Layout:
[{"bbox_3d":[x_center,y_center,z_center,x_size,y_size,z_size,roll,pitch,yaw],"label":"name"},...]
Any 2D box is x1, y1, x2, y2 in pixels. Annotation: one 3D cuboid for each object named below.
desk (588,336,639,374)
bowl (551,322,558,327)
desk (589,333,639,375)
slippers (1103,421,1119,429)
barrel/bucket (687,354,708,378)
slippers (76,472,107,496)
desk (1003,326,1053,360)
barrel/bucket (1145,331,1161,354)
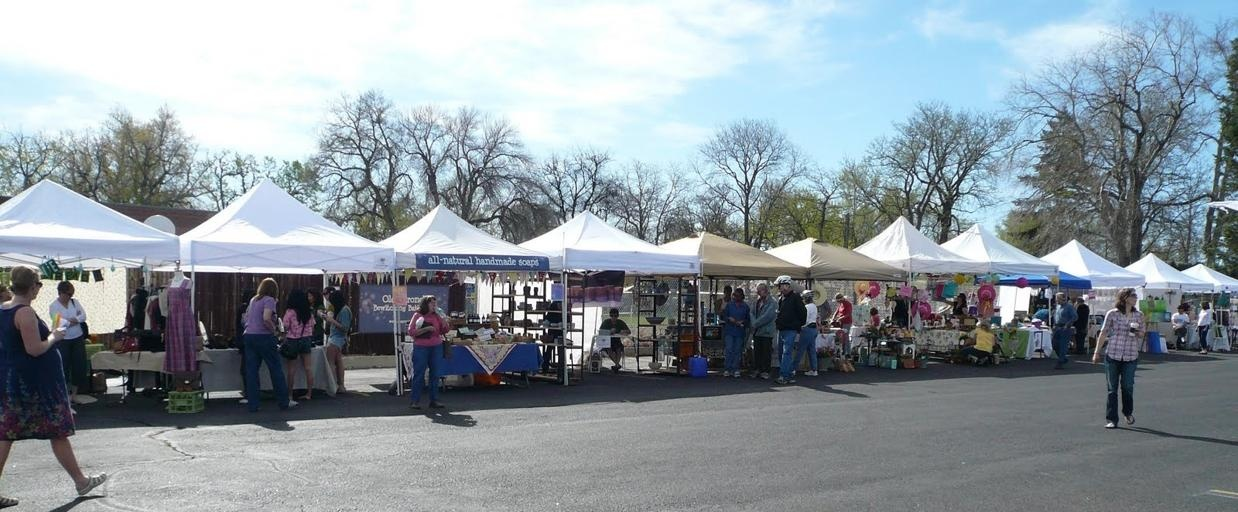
[{"bbox_3d":[-0.520,4.471,41.558,1.979,1.161,1.724,1,-10,-7],"label":"desk"},{"bbox_3d":[-2.729,2.963,39.060,0.239,0.137,0.237,-1,-3,0],"label":"bowl"},{"bbox_3d":[-0.464,4.546,41.800,2.261,1.275,1.979,1,-9,-10],"label":"desk"},{"bbox_3d":[18.956,6.440,34.535,0.454,0.270,0.336,4,9,17],"label":"slippers"},{"bbox_3d":[3.423,4.943,40.500,1.050,0.814,0.911,0,-8,-5],"label":"barrel/bucket"},{"bbox_3d":[-18.264,7.817,31.160,1.187,0.411,0.480,-26,-28,-21],"label":"slippers"},{"bbox_3d":[20.605,4.275,45.808,2.212,1.113,2.186,-3,2,-41],"label":"desk"},{"bbox_3d":[28.831,4.565,48.270,0.952,1.031,0.659,2,10,1],"label":"barrel/bucket"}]
